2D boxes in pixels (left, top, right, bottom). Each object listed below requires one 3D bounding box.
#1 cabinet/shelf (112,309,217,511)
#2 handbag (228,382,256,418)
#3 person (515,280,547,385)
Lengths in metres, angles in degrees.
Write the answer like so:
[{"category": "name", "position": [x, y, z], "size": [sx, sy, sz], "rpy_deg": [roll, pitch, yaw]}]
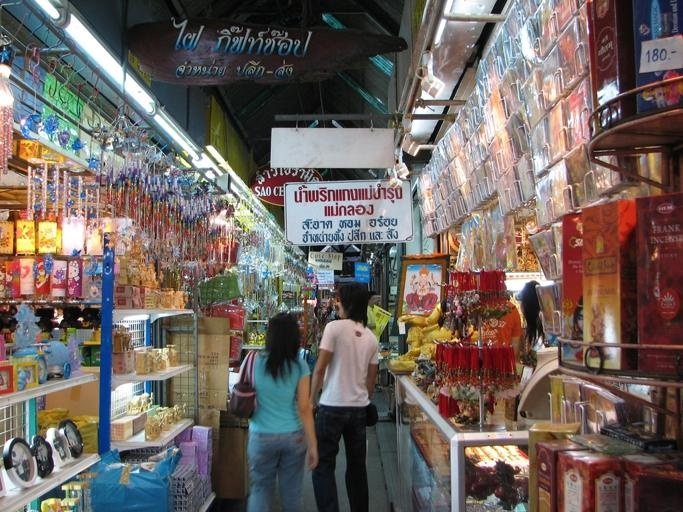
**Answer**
[{"category": "cabinet/shelf", "position": [-1.423, 1.267, 4.290], "size": [0.568, 1.625, 1.717], "rpy_deg": [0, -2, 0]}, {"category": "handbag", "position": [-0.659, 0.984, 3.548], "size": [0.179, 0.203, 0.142], "rpy_deg": [-12, 6, -4]}, {"category": "person", "position": [1.315, 0.499, 3.680], "size": [0.187, 0.540, 0.985], "rpy_deg": [-8, 7, 20]}]
